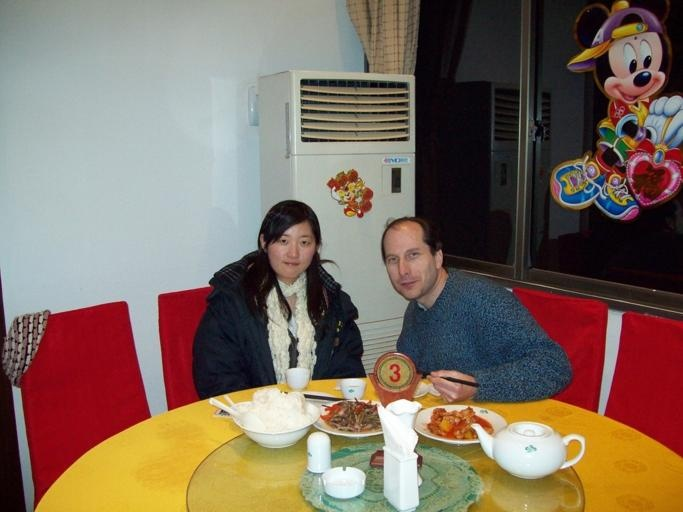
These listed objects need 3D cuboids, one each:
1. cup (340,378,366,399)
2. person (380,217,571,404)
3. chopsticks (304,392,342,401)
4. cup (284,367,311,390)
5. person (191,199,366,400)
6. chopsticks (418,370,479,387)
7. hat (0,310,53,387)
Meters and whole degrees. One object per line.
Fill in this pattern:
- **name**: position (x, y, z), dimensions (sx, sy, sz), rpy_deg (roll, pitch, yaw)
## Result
- **cup**: position (0.042, 0.457, 1.725), dimensions (0.063, 0.059, 0.072), rpy_deg (0, -14, -5)
- **person**: position (0.464, 0.233, 2.090), dimensions (0.458, 0.836, 0.804), rpy_deg (-16, 3, -37)
- **chopsticks**: position (-0.066, 0.488, 1.735), dimensions (0.119, 0.011, 0.022), rpy_deg (8, -21, 8)
- **cup**: position (-0.158, 0.436, 1.819), dimensions (0.077, 0.062, 0.076), rpy_deg (-2, -4, 0)
- **person**: position (-0.251, 0.347, 2.367), dimensions (0.779, 1.222, 0.552), rpy_deg (-3, 22, -20)
- **chopsticks**: position (0.368, 0.420, 1.710), dimensions (0.161, 0.021, 0.025), rpy_deg (18, 57, 21)
- **hat**: position (-1.208, 0.338, 1.914), dimensions (0.190, 0.282, 0.087), rpy_deg (0, 1, -8)
